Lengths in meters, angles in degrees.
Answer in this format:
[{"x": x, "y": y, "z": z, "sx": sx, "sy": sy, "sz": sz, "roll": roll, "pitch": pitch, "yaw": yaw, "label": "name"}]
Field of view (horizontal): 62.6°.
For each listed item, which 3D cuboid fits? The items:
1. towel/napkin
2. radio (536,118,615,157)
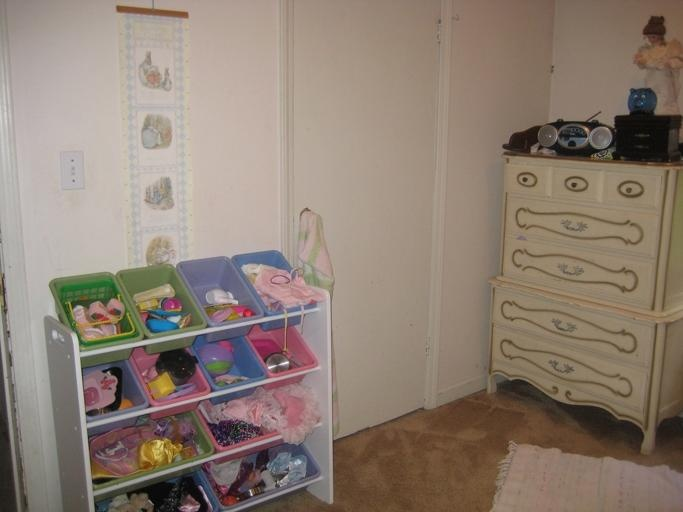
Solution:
[{"x": -0.139, "y": -0.014, "z": 2.709, "sx": 0.128, "sy": 0.435, "sz": 0.163, "roll": -6, "pitch": 21, "yaw": -28, "label": "towel/napkin"}, {"x": 1.275, "y": -0.637, "z": 3.062, "sx": 0.263, "sy": 0.151, "sz": 0.098, "roll": 8, "pitch": 17, "yaw": 41, "label": "radio"}]
